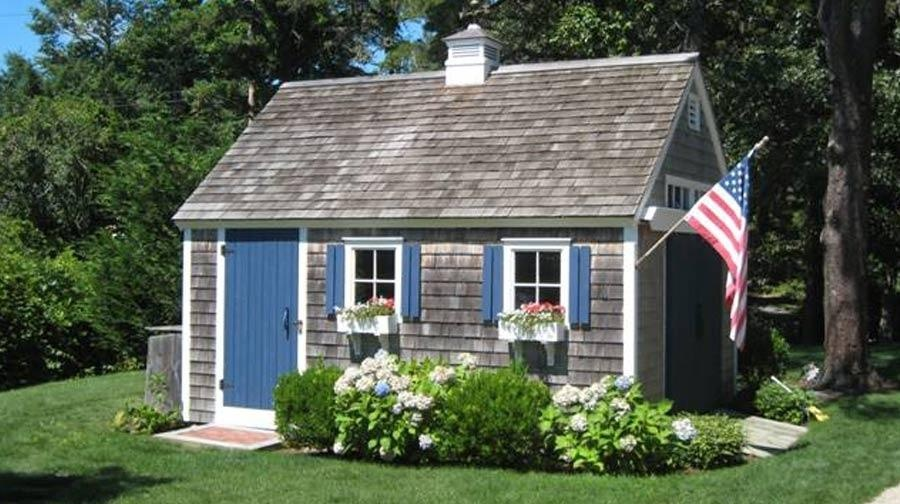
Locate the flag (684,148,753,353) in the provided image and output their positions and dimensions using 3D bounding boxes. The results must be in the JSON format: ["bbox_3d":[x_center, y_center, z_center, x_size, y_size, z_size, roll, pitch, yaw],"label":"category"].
[{"bbox_3d":[7.574,-0.069,27.526,1.552,5.270,0.479,-2,-8,12],"label":"flag"}]

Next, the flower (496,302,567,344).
[{"bbox_3d":[2.240,1.946,27.749,2.020,1.012,0.404,0,-2,-26],"label":"flower"}]
